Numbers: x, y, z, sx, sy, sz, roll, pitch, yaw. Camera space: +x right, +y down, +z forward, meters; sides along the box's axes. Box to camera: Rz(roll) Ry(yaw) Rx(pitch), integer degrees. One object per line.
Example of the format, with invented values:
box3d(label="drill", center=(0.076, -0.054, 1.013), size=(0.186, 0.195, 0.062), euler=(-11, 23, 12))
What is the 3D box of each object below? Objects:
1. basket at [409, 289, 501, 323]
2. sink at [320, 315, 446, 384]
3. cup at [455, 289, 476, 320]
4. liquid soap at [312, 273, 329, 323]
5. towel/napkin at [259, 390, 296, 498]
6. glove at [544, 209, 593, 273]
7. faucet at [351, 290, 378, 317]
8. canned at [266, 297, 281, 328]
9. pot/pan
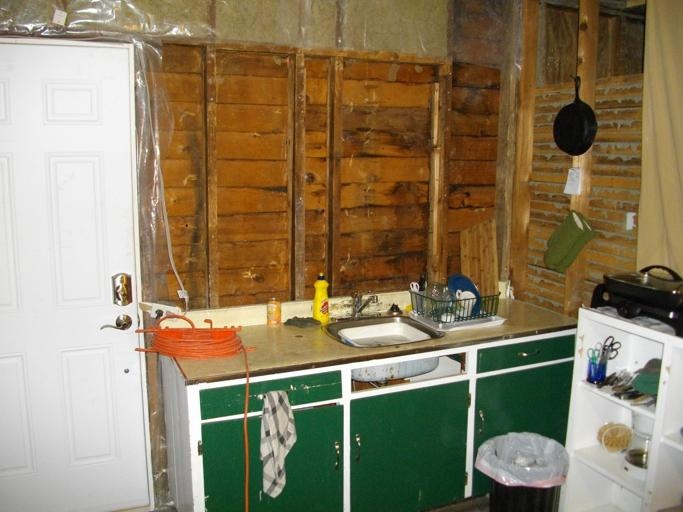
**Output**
box3d(label="basket", center=(0.664, 0.291, 3.250), size=(0.314, 0.112, 0.245), euler=(-5, 7, -25))
box3d(label="sink", center=(0.287, 0.486, 3.106), size=(0.422, 0.155, 0.473), euler=(-5, 8, -39))
box3d(label="cup", center=(0.715, 0.287, 3.257), size=(0.136, 0.168, 0.136), euler=(6, -3, 0))
box3d(label="liquid soap", center=(-0.121, 0.243, 3.227), size=(0.104, 0.270, 0.165), euler=(-3, 10, -3))
box3d(label="towel/napkin", center=(-0.289, 0.863, 2.598), size=(0.168, 0.473, 0.113), euler=(-5, 11, -10))
box3d(label="glove", center=(1.323, -0.080, 3.274), size=(0.262, 0.358, 0.140), euler=(1, 11, 19))
box3d(label="faucet", center=(0.131, 0.275, 3.331), size=(0.123, 0.153, 0.210), euler=(0, 10, 17))
box3d(label="canned", center=(-0.378, 0.319, 3.180), size=(0.087, 0.146, 0.064), euler=(-5, 11, -14))
box3d(label="pot/pan", center=(1.339, -0.808, 3.226), size=(0.083, 0.435, 0.281), euler=(-7, 11, -22))
